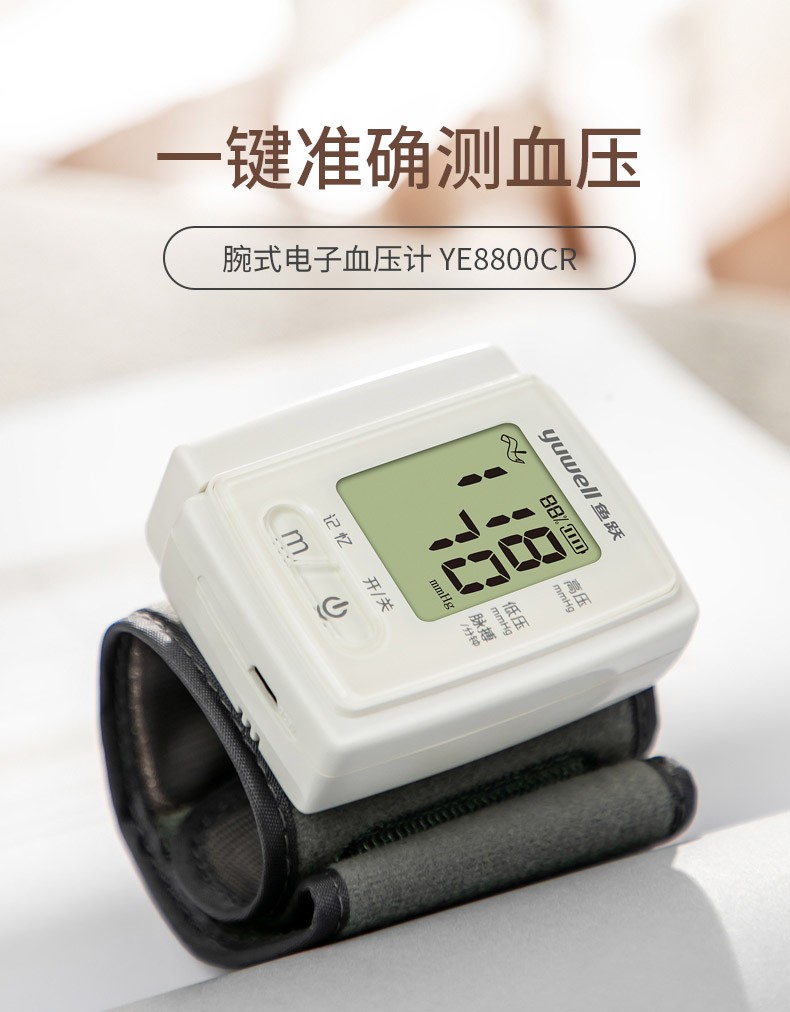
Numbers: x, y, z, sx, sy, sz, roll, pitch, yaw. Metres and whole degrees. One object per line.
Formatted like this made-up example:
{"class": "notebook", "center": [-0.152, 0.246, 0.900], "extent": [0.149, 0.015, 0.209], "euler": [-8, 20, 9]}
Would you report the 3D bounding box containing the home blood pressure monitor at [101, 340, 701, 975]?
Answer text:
{"class": "home blood pressure monitor", "center": [-0.038, 0.082, 0.750], "extent": [0.423, 0.392, 0.292], "euler": [-15, -14, -29]}
